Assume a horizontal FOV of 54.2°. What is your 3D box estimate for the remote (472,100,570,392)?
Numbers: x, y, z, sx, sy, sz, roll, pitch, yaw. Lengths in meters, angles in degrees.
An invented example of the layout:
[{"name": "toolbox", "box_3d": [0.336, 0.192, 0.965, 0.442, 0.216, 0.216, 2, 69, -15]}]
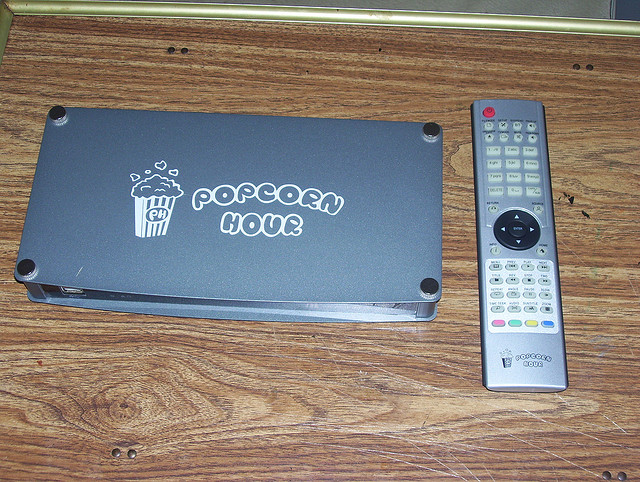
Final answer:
[{"name": "remote", "box_3d": [0.234, -0.014, 0.796, 0.142, 0.356, 0.053, 7, -14, -30]}]
